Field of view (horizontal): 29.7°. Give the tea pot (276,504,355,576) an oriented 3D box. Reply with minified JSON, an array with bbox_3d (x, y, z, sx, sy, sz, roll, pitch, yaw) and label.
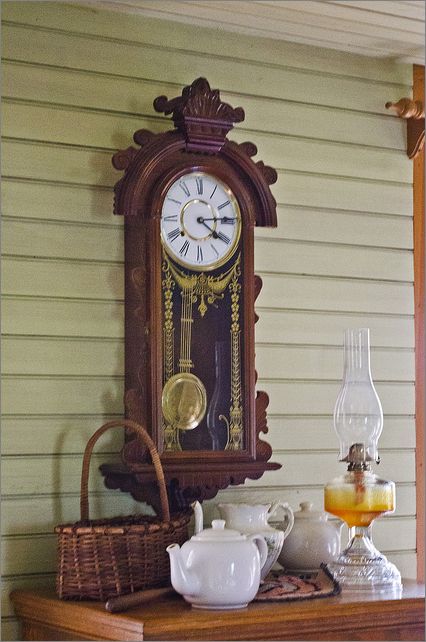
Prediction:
[{"bbox_3d":[0.232,0.529,1.965,0.240,0.167,0.172,4,-12,-17],"label":"tea pot"}]

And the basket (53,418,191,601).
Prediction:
[{"bbox_3d":[-0.196,0.390,1.723,0.264,0.313,0.304,-4,-1,3],"label":"basket"}]

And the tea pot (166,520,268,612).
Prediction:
[{"bbox_3d":[0.017,0.465,1.539,0.248,0.161,0.163,5,-13,-39],"label":"tea pot"}]

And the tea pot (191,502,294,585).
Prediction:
[{"bbox_3d":[0.075,0.505,1.811,0.250,0.182,0.178,2,-16,-19],"label":"tea pot"}]
